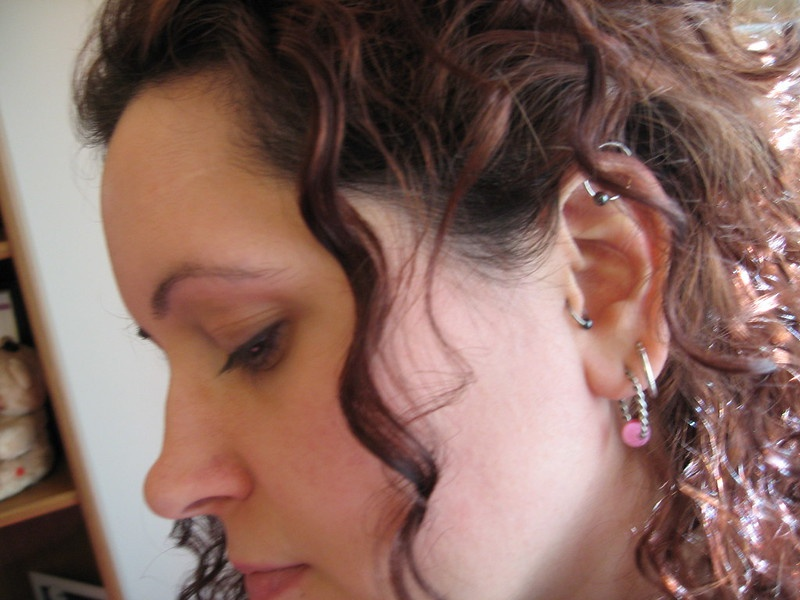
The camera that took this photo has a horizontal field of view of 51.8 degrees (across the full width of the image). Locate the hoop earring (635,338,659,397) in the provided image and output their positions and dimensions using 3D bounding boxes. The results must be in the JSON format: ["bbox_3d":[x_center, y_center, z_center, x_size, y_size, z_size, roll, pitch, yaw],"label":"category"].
[{"bbox_3d":[0.369,0.102,1.223,0.028,0.088,0.015,-19,19,-30],"label":"hoop earring"}]

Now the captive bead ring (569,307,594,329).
[{"bbox_3d":[0.267,0.026,1.224,0.020,0.038,0.011,-45,7,-9],"label":"captive bead ring"}]

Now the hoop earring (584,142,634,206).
[{"bbox_3d":[0.306,-0.186,1.209,0.037,0.084,0.082,7,23,43],"label":"hoop earring"}]

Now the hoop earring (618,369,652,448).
[{"bbox_3d":[0.352,0.164,1.258,0.023,0.097,0.072,-7,6,17],"label":"hoop earring"}]

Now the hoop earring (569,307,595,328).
[{"bbox_3d":[0.268,0.030,1.217,0.034,0.012,0.025,39,15,16],"label":"hoop earring"}]
